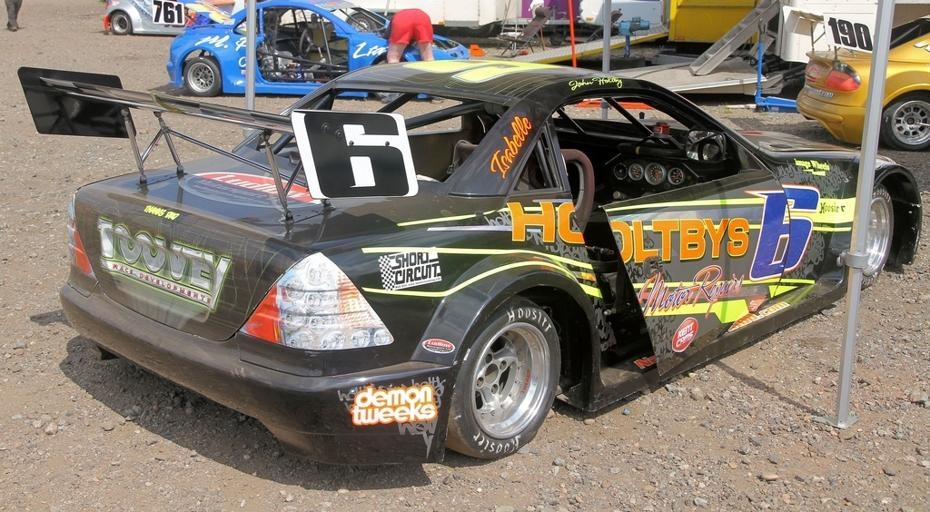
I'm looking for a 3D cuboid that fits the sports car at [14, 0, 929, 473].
[{"bbox_3d":[0.820,-0.274,6.128,6.517,1.907,3.488,-14,25,-33],"label":"sports car"}]
